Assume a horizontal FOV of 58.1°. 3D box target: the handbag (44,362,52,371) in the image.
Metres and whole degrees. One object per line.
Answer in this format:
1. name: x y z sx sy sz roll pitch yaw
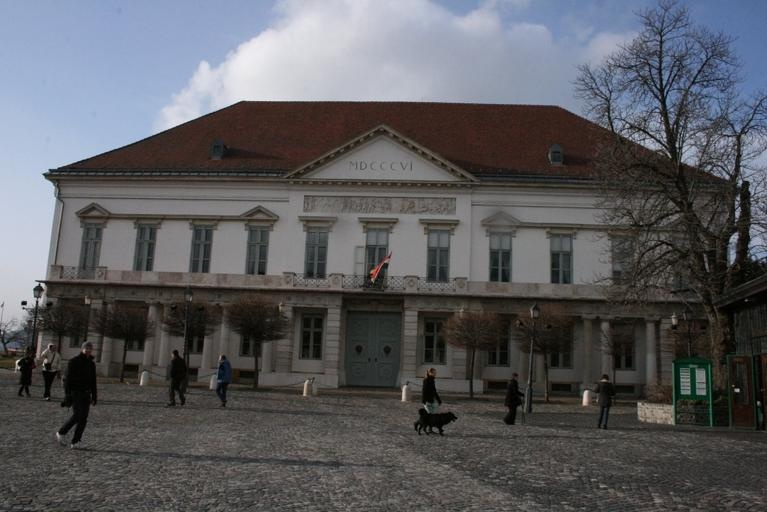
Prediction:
1. handbag: -15.446 5.097 32.052 0.300 0.303 0.296 -4 -14 0

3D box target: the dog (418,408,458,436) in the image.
1. dog: 1.941 6.229 26.267 1.398 0.956 1.321 1 -10 3
